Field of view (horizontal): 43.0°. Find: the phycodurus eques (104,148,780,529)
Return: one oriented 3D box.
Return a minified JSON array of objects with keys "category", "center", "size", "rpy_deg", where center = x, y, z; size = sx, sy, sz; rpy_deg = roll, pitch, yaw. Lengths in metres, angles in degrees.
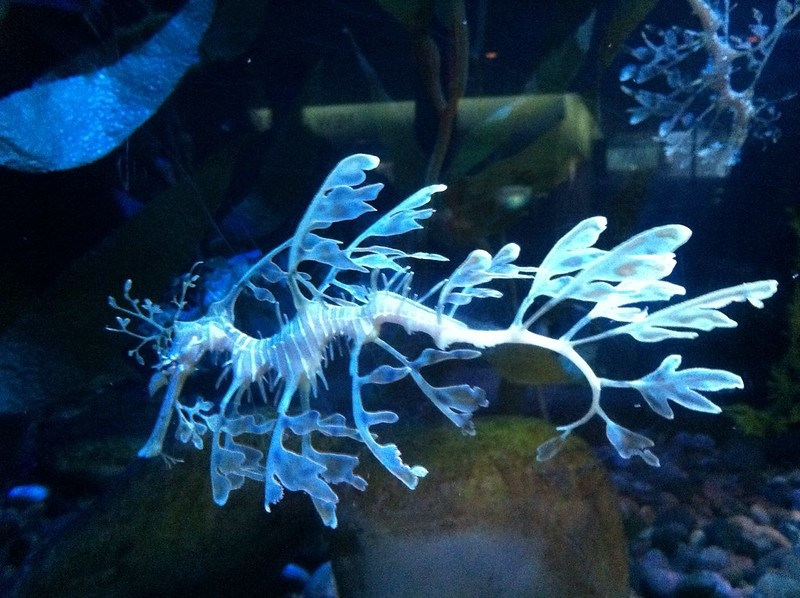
[{"category":"phycodurus eques","center":[0.041,0.066,2.173],"size":[1.377,0.749,0.457],"rpy_deg":[-10,31,-2]}]
